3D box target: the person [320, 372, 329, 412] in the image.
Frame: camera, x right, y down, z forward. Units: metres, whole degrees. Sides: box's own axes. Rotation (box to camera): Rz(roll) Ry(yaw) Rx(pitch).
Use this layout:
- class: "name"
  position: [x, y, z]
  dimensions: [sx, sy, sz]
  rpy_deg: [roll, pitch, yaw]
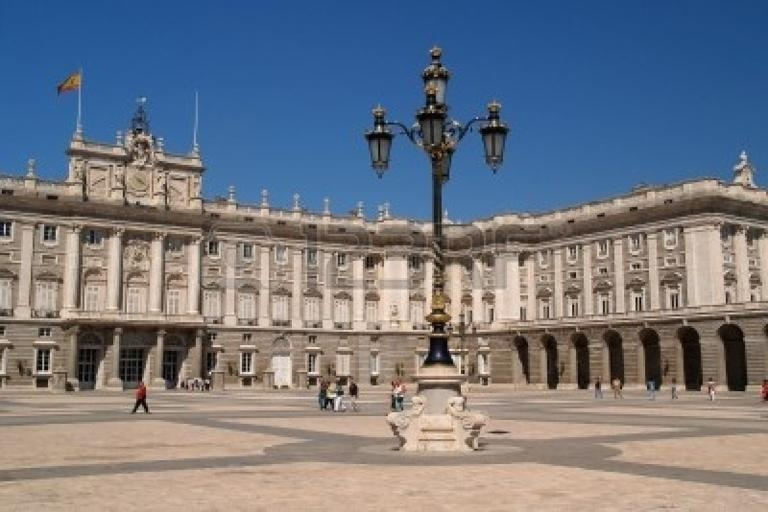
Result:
- class: "person"
  position: [-3.215, 7.439, 57.459]
  dimensions: [0.430, 1.589, 0.924]
  rpy_deg: [2, -10, -6]
